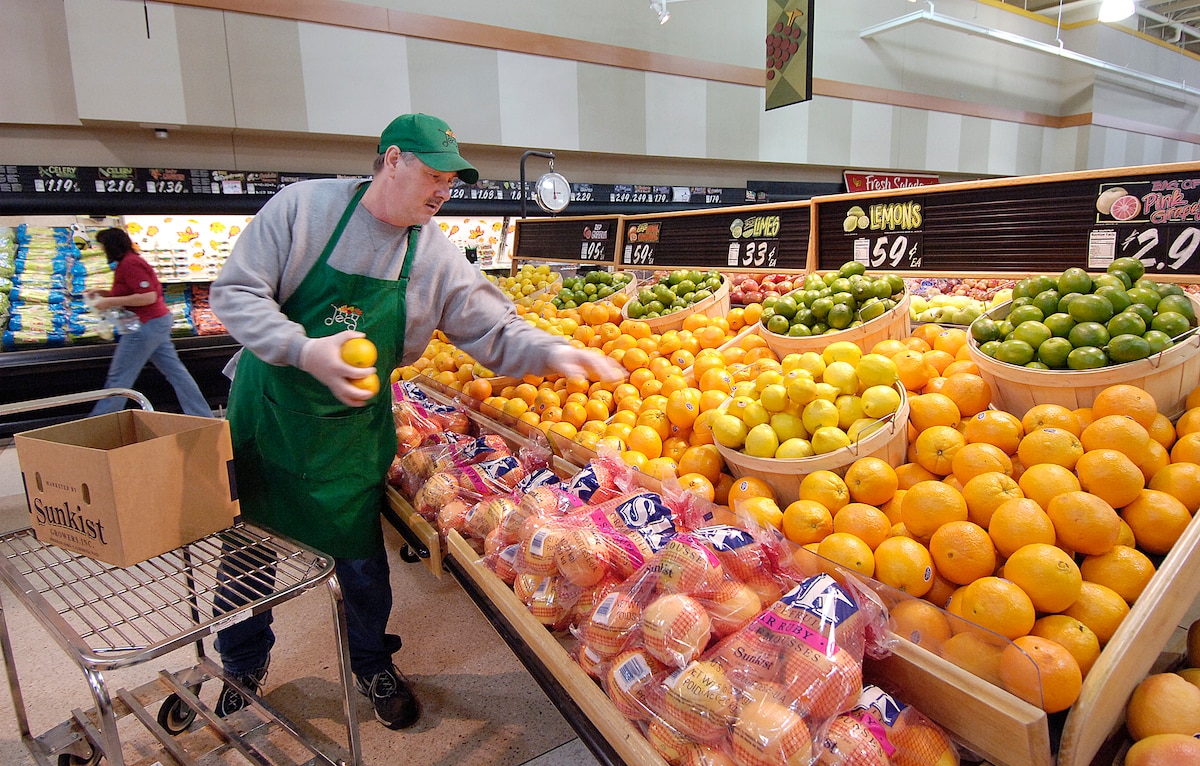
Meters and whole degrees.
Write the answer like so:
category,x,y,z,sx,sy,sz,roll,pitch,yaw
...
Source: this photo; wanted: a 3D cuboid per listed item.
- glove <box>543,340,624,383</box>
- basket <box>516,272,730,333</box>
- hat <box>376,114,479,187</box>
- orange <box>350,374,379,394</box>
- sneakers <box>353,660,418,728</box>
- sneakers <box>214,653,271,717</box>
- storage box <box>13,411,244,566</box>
category,x,y,z,sx,sy,sz,roll,pitch,yaw
glove,-0.064,-0.076,2.817,0.284,0.141,0.100,10,1,7
basket,0.209,-0.443,3.772,0.630,0.195,0.636,-7,6,-5
hat,-0.652,-0.917,2.661,0.418,0.212,0.273,15,12,29
orange,-0.814,0.005,2.419,0.085,0.068,0.069,-3,-2,-4
sneakers,-0.934,1.334,3.034,0.182,0.156,0.436,1,15,-37
sneakers,-1.469,1.247,2.858,0.097,0.277,0.117,26,-13,0
storage box,-1.571,0.276,2.359,0.595,0.417,0.572,8,14,35
